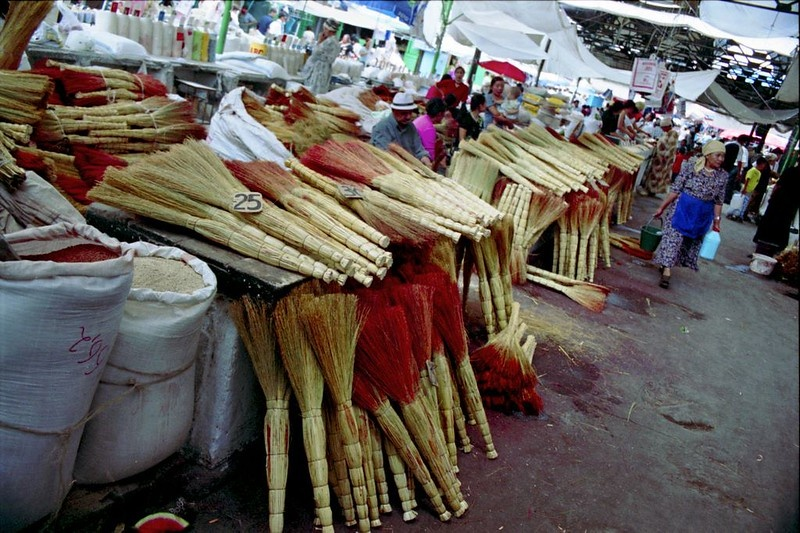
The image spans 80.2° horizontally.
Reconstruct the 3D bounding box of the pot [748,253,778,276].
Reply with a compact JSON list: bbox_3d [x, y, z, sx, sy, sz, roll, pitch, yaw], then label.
[{"bbox_3d":[6.373,-0.068,8.455,0.376,0.278,0.377,4,8,-1],"label":"pot"}]

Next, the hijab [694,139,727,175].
[{"bbox_3d":[3.874,-1.408,5.966,0.285,0.474,0.400,-17,22,-41],"label":"hijab"}]

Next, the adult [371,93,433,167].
[{"bbox_3d":[0.028,-1.356,4.589,0.340,0.609,0.660,27,22,38],"label":"adult"}]

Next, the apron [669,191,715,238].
[{"bbox_3d":[3.851,-0.676,6.419,0.576,0.583,0.248,11,22,-6],"label":"apron"}]

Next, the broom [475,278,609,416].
[{"bbox_3d":[0.882,0.617,3.525,0.486,0.346,0.803,19,37,20],"label":"broom"}]

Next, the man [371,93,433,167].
[{"bbox_3d":[0.028,-1.356,4.589,0.340,0.609,0.660,27,22,38],"label":"man"}]

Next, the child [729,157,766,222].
[{"bbox_3d":[9.147,-2.059,12.522,0.345,1.694,0.904,23,20,31],"label":"child"}]
